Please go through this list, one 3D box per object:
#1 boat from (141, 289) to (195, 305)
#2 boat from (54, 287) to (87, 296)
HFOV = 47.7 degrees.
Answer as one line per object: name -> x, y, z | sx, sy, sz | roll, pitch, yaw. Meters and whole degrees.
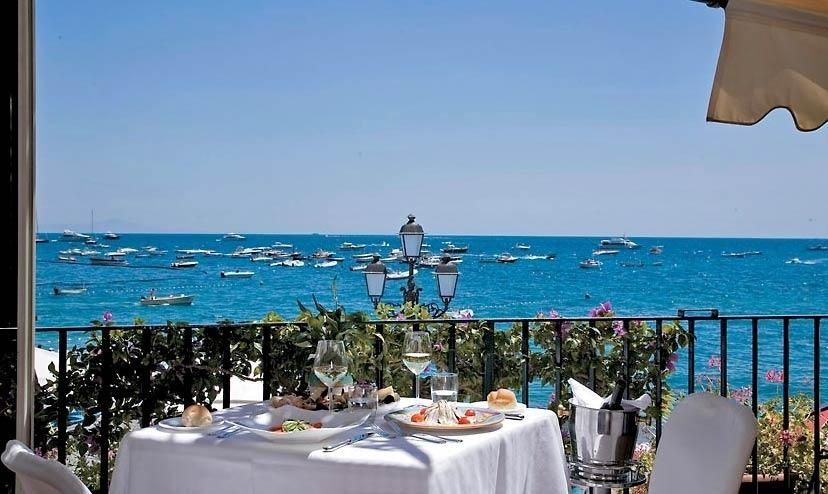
boat -> -24.964, 5.149, 93.723 | 5.210, 1.624, 5.847 | 1, -5, -24
boat -> -34.918, 4.534, 94.142 | 3.280, 0.913, 2.666 | 2, -5, -27
